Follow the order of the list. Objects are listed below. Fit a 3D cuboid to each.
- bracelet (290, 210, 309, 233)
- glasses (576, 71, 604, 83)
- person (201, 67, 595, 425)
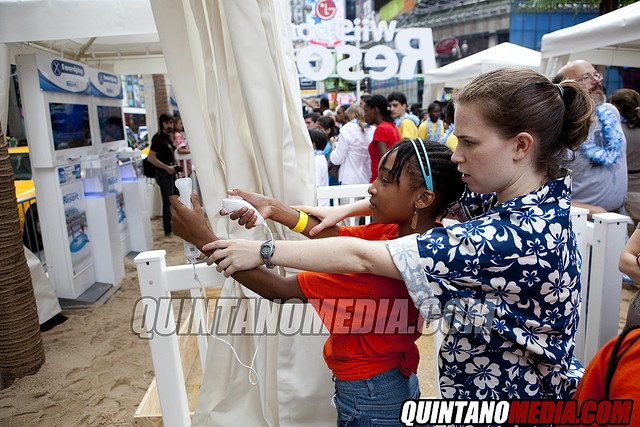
[{"bbox_3d":[-0.124,0.050,2.773,0.046,0.116,0.101,12,-12,-12],"label":"bracelet"},{"bbox_3d":[2.647,-1.347,4.577,0.232,0.074,0.235,-3,5,-2],"label":"glasses"},{"bbox_3d":[0.641,0.147,2.181,1.457,1.615,0.368,-6,10,-10],"label":"person"}]
